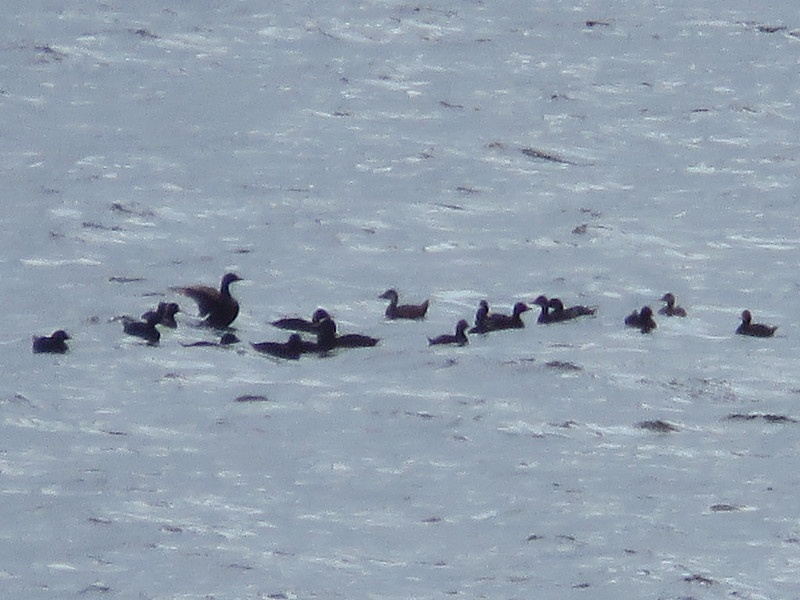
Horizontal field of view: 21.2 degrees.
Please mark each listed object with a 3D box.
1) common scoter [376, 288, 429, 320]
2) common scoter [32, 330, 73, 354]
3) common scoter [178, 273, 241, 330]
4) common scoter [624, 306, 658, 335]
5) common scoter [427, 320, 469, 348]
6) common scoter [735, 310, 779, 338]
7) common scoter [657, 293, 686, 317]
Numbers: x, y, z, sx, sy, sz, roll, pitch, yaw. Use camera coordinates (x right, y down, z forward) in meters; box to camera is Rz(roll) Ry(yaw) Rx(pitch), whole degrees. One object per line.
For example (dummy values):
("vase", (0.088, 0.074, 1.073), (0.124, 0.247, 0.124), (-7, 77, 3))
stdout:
("common scoter", (0.037, 0.038, 17.036), (0.390, 0.182, 0.224), (4, 65, 1))
("common scoter", (-2.761, 0.328, 16.986), (0.301, 0.058, 0.182), (-4, 62, -8))
("common scoter", (-1.455, 0.037, 17.198), (0.482, 0.373, 0.415), (-15, 79, 4))
("common scoter", (1.944, 0.164, 17.033), (0.237, 0.057, 0.216), (-15, 64, -14))
("common scoter", (0.443, 0.294, 16.975), (0.349, 0.062, 0.191), (-28, 67, -19))
("common scoter", (2.874, 0.177, 16.977), (0.303, 0.187, 0.181), (3, 88, 7))
("common scoter", (2.198, 0.036, 17.095), (0.203, 0.175, 0.165), (4, 94, 14))
